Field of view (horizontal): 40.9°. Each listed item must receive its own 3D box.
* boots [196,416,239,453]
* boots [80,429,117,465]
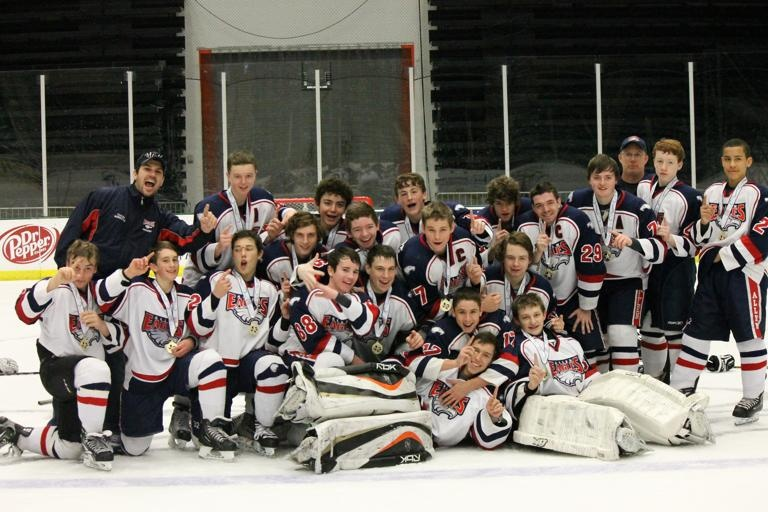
[{"bbox_3d":[-2.334,2.480,14.328,0.297,0.538,0.904,13,-8,-40],"label":"boots"},{"bbox_3d":[-3.954,2.628,14.169,0.293,0.475,0.845,7,4,-41],"label":"boots"}]
